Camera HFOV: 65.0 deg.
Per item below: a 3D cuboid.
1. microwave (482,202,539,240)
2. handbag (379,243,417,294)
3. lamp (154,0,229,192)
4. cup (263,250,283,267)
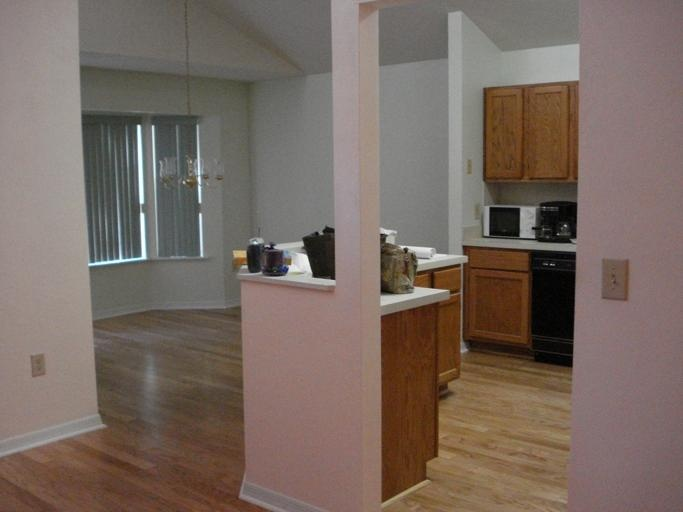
[{"bbox_3d":[1.652,-0.339,5.253,0.445,0.319,0.318,3,5,37],"label":"microwave"},{"bbox_3d":[0.321,0.057,3.081,0.244,0.343,0.248,2,4,36],"label":"handbag"},{"bbox_3d":[-1.673,-1.703,6.001,0.720,2.082,2.325,-4,10,-18],"label":"lamp"},{"bbox_3d":[-0.370,0.011,2.928,0.095,0.102,0.077,-1,3,2],"label":"cup"}]
